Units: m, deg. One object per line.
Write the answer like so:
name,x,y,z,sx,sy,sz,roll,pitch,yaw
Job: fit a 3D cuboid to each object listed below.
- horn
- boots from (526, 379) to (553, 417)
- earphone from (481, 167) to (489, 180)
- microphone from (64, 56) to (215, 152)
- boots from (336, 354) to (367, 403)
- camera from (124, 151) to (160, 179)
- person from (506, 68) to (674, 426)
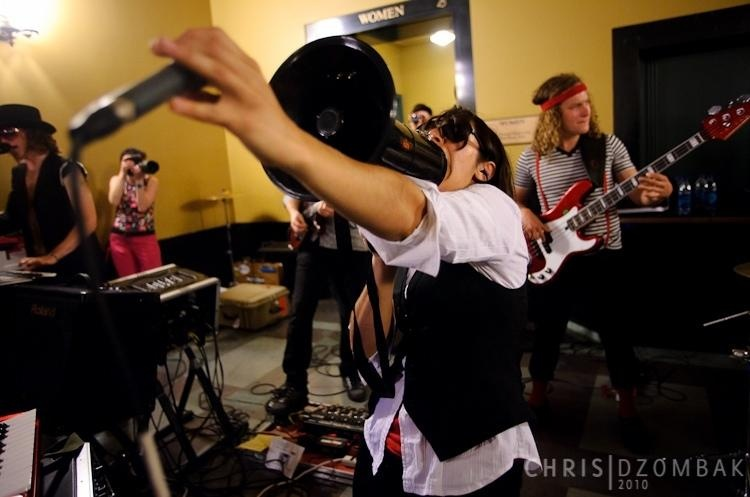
horn,-0.016,-0.394,1.922,0.391,0.410,0.661,18,-5,33
boots,1.222,1.107,3.992,0.088,0.199,0.199,16,-20,11
earphone,0.455,-0.313,2.196,0.030,0.048,0.014,-7,3,18
microphone,-0.696,-0.428,1.566,0.392,0.237,0.049,-5,9,-11
boots,-0.199,1.158,4.430,0.252,0.214,0.626,19,-16,-3
camera,-2.224,-0.805,5.097,0.286,0.191,0.274,0,-17,22
person,1.574,0.029,4.000,0.769,2.495,1.421,4,28,10
